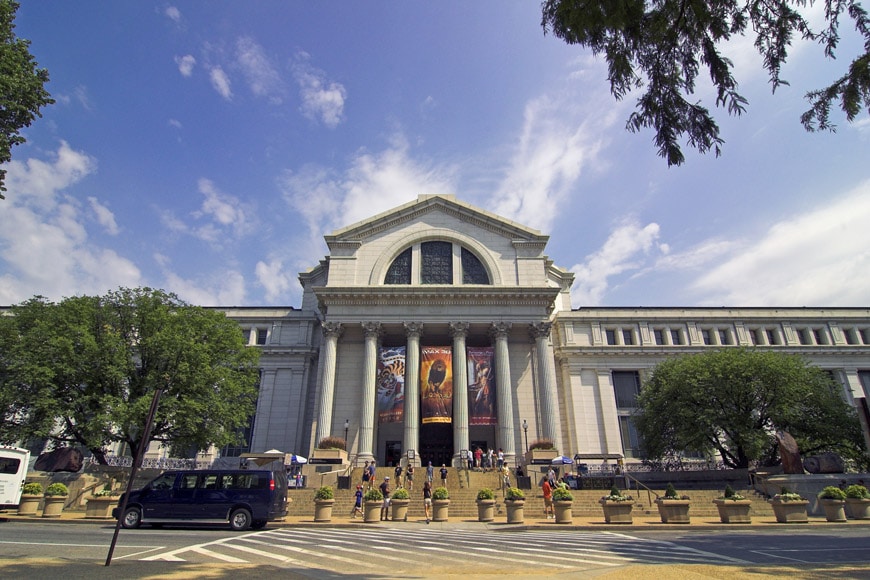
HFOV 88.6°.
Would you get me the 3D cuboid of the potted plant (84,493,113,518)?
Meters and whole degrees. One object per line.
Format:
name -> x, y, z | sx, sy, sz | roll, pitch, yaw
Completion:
potted plant -> -18.282, 11.611, 24.315 | 1.257, 1.074, 1.465 | 5, -11, -19
